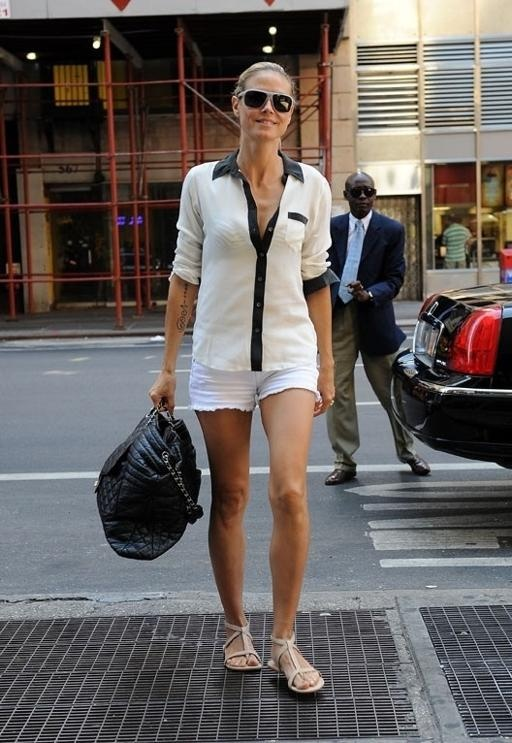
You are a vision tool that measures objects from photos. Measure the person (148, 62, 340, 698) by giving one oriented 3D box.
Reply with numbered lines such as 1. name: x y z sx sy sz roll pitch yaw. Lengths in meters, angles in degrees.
1. person: -0.043 -0.026 2.409 0.548 1.696 0.445 -3 1 11

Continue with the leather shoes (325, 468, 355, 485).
1. leather shoes: 0.564 0.705 5.330 0.258 0.097 0.083 -1 1 -44

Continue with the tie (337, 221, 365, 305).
1. tie: 0.612 -0.720 5.132 0.190 0.499 0.096 -3 1 8

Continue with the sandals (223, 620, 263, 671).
1. sandals: -0.039 0.832 2.380 0.074 0.070 0.178 0 -3 -10

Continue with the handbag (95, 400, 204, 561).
1. handbag: -0.312 0.340 2.332 0.302 0.420 0.249 -3 1 -16

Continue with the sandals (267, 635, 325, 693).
1. sandals: 0.099 0.813 2.248 0.085 0.081 0.205 -15 13 -26

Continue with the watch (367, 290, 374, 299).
1. watch: 0.713 -0.472 4.991 0.024 0.043 0.056 -2 0 44

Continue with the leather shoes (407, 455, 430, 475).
1. leather shoes: 1.110 0.652 5.488 0.083 0.086 0.200 -31 5 -9

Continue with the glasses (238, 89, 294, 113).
1. glasses: 0.042 -0.785 2.331 0.167 0.067 0.082 -2 0 -15

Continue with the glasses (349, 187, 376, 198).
1. glasses: 0.684 -1.158 5.162 0.110 0.039 0.106 0 -1 -10
